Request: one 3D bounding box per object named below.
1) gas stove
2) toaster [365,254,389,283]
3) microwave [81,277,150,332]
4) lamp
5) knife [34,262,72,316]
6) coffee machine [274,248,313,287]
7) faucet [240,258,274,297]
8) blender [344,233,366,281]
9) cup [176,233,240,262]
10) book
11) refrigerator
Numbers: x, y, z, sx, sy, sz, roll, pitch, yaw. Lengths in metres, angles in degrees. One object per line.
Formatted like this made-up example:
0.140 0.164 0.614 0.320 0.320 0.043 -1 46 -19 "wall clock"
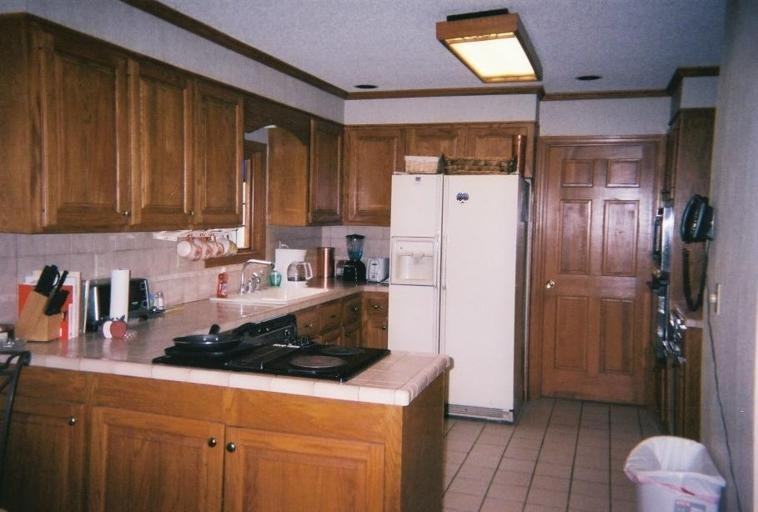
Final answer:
-0.571 0.525 3.381 1.188 0.103 0.552 3 10 12 "gas stove"
0.010 0.149 6.261 0.240 0.310 0.266 -2 -7 18 "toaster"
-1.738 0.303 3.964 0.316 0.280 0.454 0 2 8 "microwave"
0.777 -1.411 4.152 0.521 0.343 0.715 6 11 28 "lamp"
-1.949 0.207 3.569 0.173 0.295 0.193 -5 12 -29 "knife"
-0.794 0.110 5.790 0.439 0.380 0.257 -1 0 7 "coffee machine"
-1.000 0.192 5.450 0.360 0.347 0.283 0 2 16 "faucet"
-0.250 0.012 6.272 0.231 0.445 0.530 1 10 -3 "blender"
-1.336 -0.076 4.655 0.188 0.179 0.527 6 11 24 "cup"
-1.971 0.299 3.602 0.431 0.527 0.274 5 7 18 "book"
0.674 0.357 5.417 1.218 2.158 0.326 5 12 20 "refrigerator"
